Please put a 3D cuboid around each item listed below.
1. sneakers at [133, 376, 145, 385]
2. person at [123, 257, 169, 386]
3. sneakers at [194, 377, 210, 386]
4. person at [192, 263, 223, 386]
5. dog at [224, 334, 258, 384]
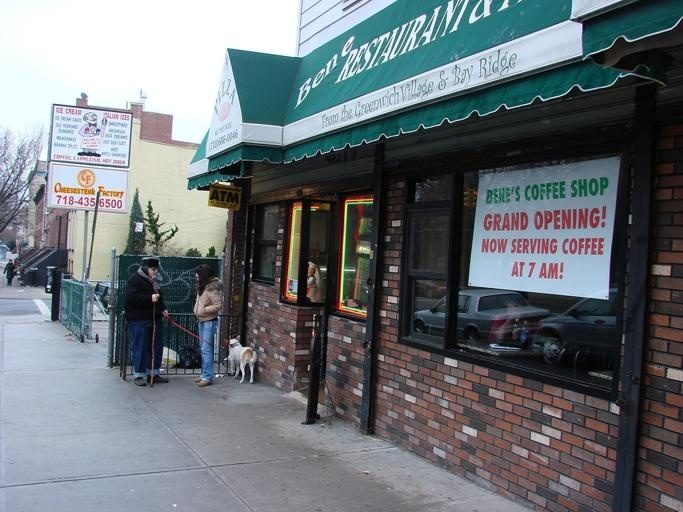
[{"bbox_3d":[-3.238,1.979,9.031,0.188,0.147,0.283,2,0,-26],"label":"sneakers"},{"bbox_3d":[-3.181,1.058,9.190,0.660,2.140,0.609,2,0,-38],"label":"person"},{"bbox_3d":[-2.273,2.040,9.204,0.101,0.117,0.274,-3,-13,44],"label":"sneakers"},{"bbox_3d":[-2.254,1.134,9.466,0.437,2.022,0.690,2,0,-18],"label":"person"},{"bbox_3d":[-1.721,1.803,9.867,0.434,0.745,0.884,2,0,-24],"label":"dog"}]
